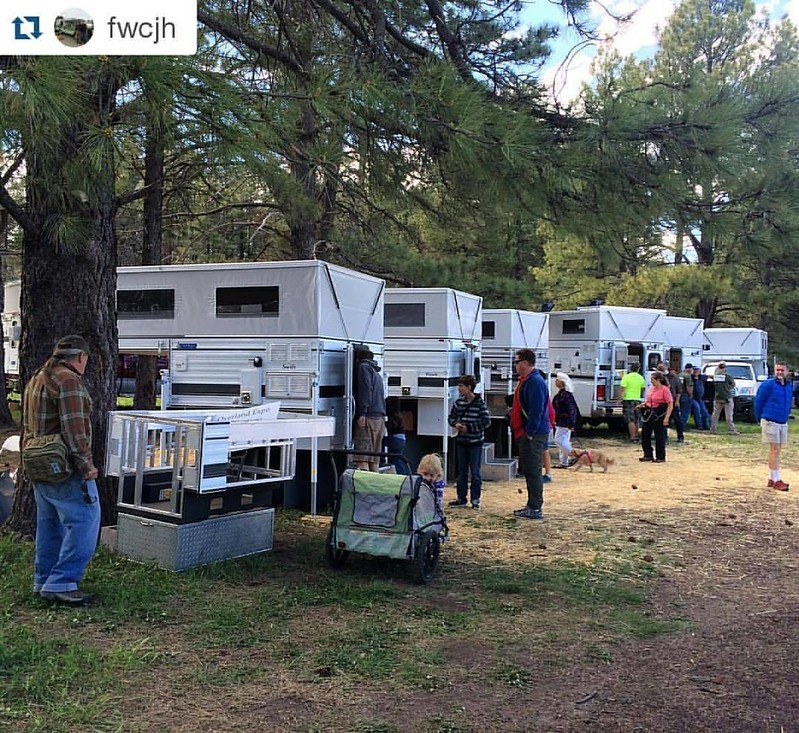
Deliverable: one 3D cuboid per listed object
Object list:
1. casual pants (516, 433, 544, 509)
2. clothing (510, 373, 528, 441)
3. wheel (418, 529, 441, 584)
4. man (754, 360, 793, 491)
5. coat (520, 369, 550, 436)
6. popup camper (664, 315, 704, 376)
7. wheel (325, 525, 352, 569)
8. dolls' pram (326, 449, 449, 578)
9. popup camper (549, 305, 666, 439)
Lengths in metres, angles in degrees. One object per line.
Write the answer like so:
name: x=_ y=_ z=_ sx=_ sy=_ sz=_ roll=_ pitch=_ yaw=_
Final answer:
casual pants: x=1.354 y=1.080 z=10.800 sx=0.271 sy=0.795 sz=0.315 roll=4 pitch=6 yaw=14
clothing: x=1.226 y=0.464 z=10.844 sx=0.154 sy=0.492 sz=0.341 roll=-2 pitch=5 yaw=-3
wheel: x=0.228 y=1.507 z=8.309 sx=0.075 sy=0.406 sz=0.388 roll=6 pitch=5 yaw=18
man: x=4.651 y=0.705 z=12.874 sx=0.454 sy=1.562 sz=0.742 roll=4 pitch=6 yaw=21
coat: x=1.386 y=0.371 z=10.736 sx=0.333 sy=0.677 sz=0.672 roll=0 pitch=-2 yaw=2
popup camper: x=5.831 y=-0.557 z=22.406 sx=1.282 sy=1.374 sz=0.883 roll=-2 pitch=2 yaw=-33
wheel: x=-0.504 y=1.468 z=8.511 sx=0.098 sy=0.293 sz=0.283 roll=2 pitch=-23 yaw=13
dolls' pram: x=-0.075 y=1.219 z=8.524 sx=0.630 sy=0.727 sz=1.014 roll=1 pitch=2 yaw=24
popup camper: x=3.878 y=-0.236 z=20.764 sx=1.568 sy=2.122 sz=2.664 roll=-1 pitch=3 yaw=-23
